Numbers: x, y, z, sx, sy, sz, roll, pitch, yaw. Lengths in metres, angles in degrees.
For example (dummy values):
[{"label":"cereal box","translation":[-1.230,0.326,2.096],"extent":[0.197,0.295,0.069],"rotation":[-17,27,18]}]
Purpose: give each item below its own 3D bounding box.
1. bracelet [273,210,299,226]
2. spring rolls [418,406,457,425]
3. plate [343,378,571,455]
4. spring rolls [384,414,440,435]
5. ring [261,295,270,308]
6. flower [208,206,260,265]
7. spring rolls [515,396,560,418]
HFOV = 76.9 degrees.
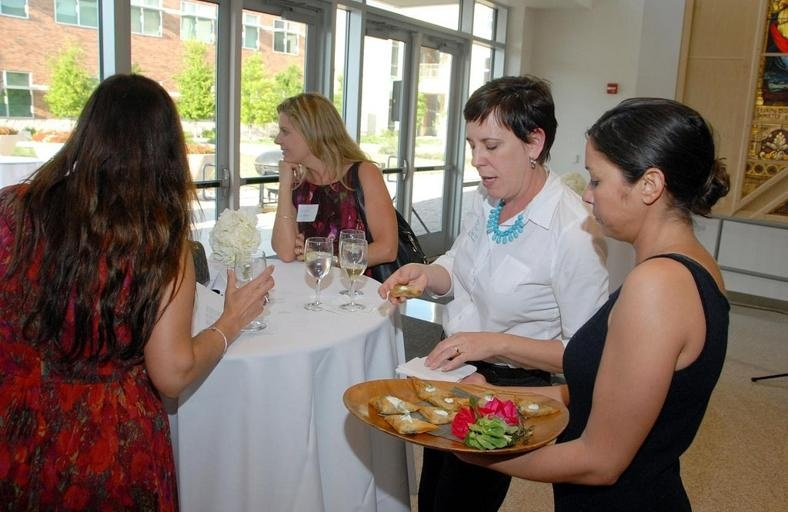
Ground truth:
[{"label":"bracelet","translation":[-0.643,-0.219,2.955],"extent":[0.122,0.069,0.097],"rotation":[-3,13,-14]},{"label":"spring rolls","translation":[0.118,0.443,1.385],"extent":[0.052,0.017,0.053],"rotation":[5,4,0]},{"label":"plate","translation":[0.175,0.438,1.418],"extent":[0.415,0.064,0.321],"rotation":[8,8,18]},{"label":"spring rolls","translation":[0.049,0.449,1.327],"extent":[0.074,0.026,0.067],"rotation":[12,-5,-35]},{"label":"ring","translation":[-0.518,0.183,1.999],"extent":[0.046,0.055,0.017],"rotation":[-4,30,-26]},{"label":"flower","translation":[-0.711,-0.085,2.231],"extent":[0.230,0.262,0.110],"rotation":[-2,4,-10]},{"label":"spring rolls","translation":[0.413,0.438,1.434],"extent":[0.065,0.019,0.068],"rotation":[3,14,-1]}]
